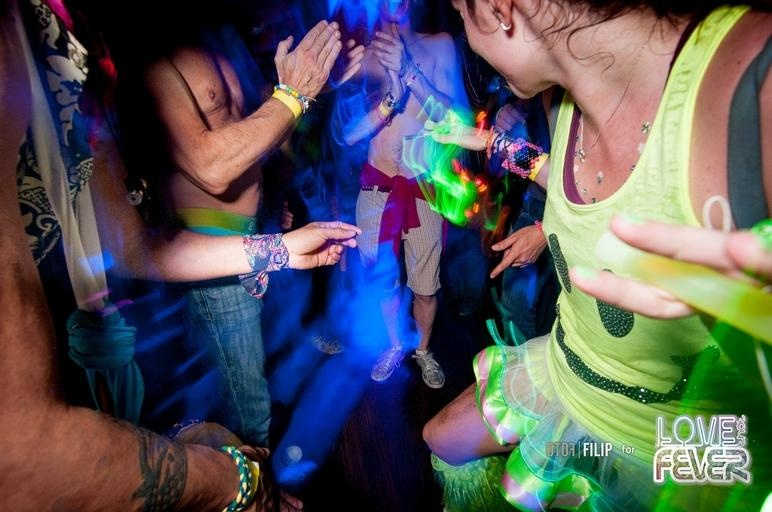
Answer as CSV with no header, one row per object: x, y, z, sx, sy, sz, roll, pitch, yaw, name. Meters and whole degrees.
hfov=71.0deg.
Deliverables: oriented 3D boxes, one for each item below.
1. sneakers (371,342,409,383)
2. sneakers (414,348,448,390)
0.030,0.783,4.038,0.126,0.125,0.349,30,26,11,sneakers
0.328,0.837,4.008,0.141,0.117,0.289,-8,29,-11,sneakers
